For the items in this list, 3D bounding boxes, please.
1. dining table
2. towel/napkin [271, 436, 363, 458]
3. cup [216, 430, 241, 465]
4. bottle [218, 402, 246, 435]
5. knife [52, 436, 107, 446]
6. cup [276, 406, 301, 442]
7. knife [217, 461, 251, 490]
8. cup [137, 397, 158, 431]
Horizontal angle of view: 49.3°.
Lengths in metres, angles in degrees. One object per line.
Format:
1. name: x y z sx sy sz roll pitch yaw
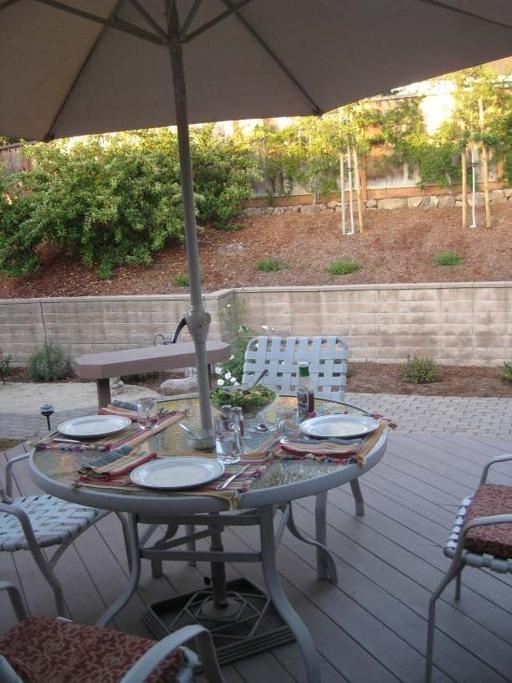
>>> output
1. dining table: -0.132 0.629 1.750 0.976 0.559 0.970 2 13 19
2. towel/napkin: 0.182 0.321 1.692 0.263 0.016 0.155 -1 10 17
3. cup: -0.071 0.321 1.692 0.084 0.088 0.084 -1 8 0
4. bottle: -0.082 0.253 1.850 0.069 0.115 0.119 -7 12 -34
5. knife: -0.605 0.343 1.918 0.115 0.014 0.028 0 23 15
6. cup: 0.114 0.301 1.972 0.067 0.108 0.065 0 4 0
7. knife: -0.058 0.352 1.504 0.022 0.020 0.191 -22 1 19
8. cup: -0.400 0.259 2.061 0.097 0.134 0.090 -1 -3 0
